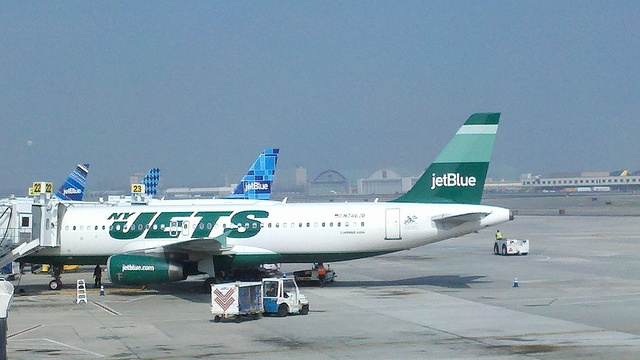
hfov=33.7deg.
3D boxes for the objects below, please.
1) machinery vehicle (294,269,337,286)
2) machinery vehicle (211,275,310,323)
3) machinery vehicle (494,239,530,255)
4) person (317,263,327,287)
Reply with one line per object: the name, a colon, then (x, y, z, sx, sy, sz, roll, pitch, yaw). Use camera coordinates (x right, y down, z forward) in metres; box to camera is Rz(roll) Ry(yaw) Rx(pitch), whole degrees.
machinery vehicle: (-0.511, 8.431, 91.002, 2.906, 1.009, 1.588, -1, 2, 8)
machinery vehicle: (-4.901, 9.311, 82.308, 6.822, 2.169, 3.504, -2, 2, -25)
machinery vehicle: (18.576, 6.701, 104.656, 1.975, 0.913, 2.518, 0, 0, -36)
person: (0.126, 8.231, 90.722, 0.581, 2.026, 0.379, -1, 7, -2)
